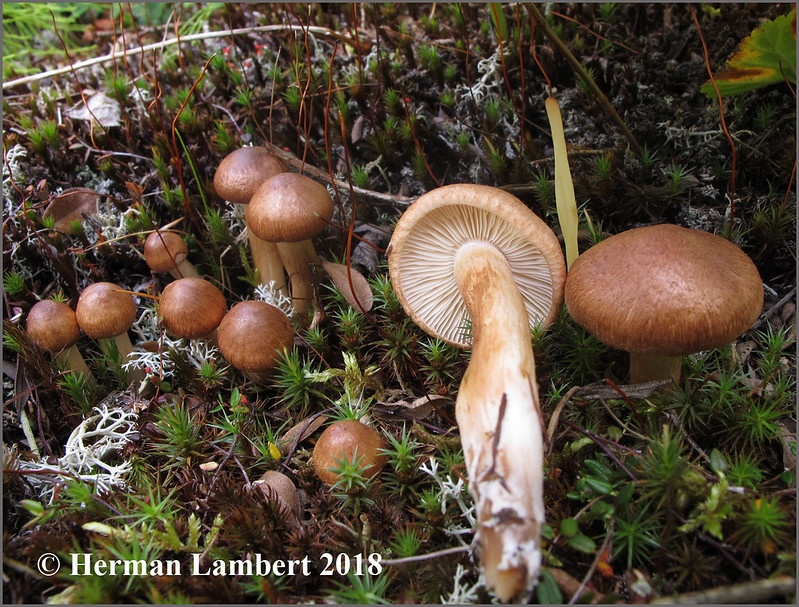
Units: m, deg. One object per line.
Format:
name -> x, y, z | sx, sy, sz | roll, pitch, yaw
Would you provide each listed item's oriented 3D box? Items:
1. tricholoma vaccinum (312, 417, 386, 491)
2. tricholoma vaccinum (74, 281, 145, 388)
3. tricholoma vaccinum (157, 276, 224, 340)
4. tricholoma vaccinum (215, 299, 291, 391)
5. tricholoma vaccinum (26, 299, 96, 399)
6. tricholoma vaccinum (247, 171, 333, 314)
tricholoma vaccinum -> -0.284, 0.791, 3.442 | 0.326, 0.284, 0.344 | -19, 51, -19
tricholoma vaccinum -> -1.935, 0.206, 4.150 | 0.336, 0.749, 0.325 | 5, 30, -17
tricholoma vaccinum -> -1.336, 0.030, 4.064 | 0.353, 0.311, 0.397 | -17, 70, -21
tricholoma vaccinum -> -0.871, 0.216, 3.964 | 0.403, 0.455, 0.454 | -36, 74, -19
tricholoma vaccinum -> -2.165, 0.253, 4.074 | 0.390, 0.546, 0.285 | 21, 51, 28
tricholoma vaccinum -> -0.666, -0.386, 4.200 | 0.550, 0.881, 0.397 | -22, 44, -13
